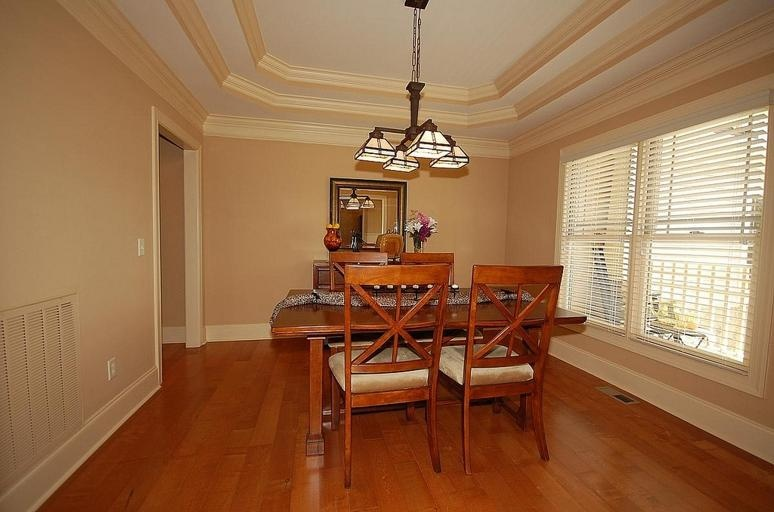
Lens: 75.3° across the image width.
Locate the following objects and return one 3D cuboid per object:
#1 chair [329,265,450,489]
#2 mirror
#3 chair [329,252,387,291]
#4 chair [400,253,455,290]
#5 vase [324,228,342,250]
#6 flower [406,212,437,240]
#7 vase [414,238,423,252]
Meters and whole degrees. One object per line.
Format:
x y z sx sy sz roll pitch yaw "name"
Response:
0.015 0.910 4.071 0.981 1.709 0.716 0 3 -7 "chair"
-0.280 -0.492 6.315 0.961 0.966 0.074 0 3 -16 "mirror"
-0.284 0.188 5.223 0.623 0.433 0.351 -1 5 -4 "chair"
0.403 0.125 5.220 0.553 0.332 0.315 0 3 -10 "chair"
-0.604 -0.182 5.648 0.235 0.291 0.224 4 2 13 "vase"
0.349 -0.292 5.264 0.282 0.271 0.265 1 2 2 "flower"
0.329 -0.112 5.369 0.117 0.147 0.109 -4 28 -8 "vase"
